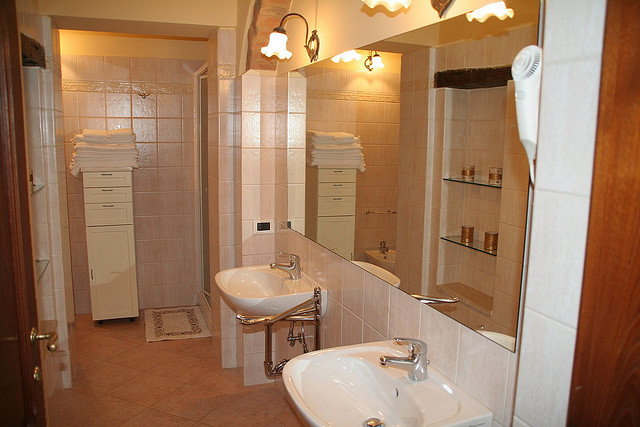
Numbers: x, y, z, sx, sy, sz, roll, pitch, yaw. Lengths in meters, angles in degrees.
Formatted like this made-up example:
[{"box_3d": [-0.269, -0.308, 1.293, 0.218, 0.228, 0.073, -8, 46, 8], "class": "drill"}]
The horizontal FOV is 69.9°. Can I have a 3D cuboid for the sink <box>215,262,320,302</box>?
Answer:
[{"box_3d": [-0.363, 0.401, 3.092, 0.627, 0.233, 0.759, -2, 7, -26], "class": "sink"}]

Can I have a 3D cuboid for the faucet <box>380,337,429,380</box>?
[{"box_3d": [0.358, 0.607, 1.905, 0.211, 0.156, 0.157, -4, 13, -29], "class": "faucet"}]

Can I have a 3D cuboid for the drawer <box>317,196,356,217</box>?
[{"box_3d": [0.104, -0.079, 2.777, 0.130, 0.076, 0.178, -5, 9, -30], "class": "drawer"}]

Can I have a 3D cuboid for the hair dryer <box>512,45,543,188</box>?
[{"box_3d": [0.646, -0.313, 1.442, 0.107, 0.409, 0.039, 5, 14, 14], "class": "hair dryer"}]

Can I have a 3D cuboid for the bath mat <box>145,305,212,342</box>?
[{"box_3d": [-1.497, 1.112, 4.734, 0.587, 0.017, 0.914, 1, 8, -20], "class": "bath mat"}]
